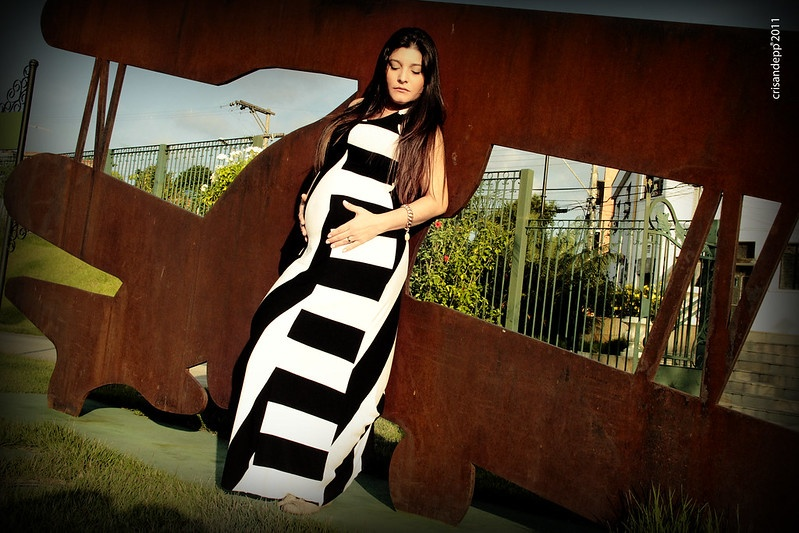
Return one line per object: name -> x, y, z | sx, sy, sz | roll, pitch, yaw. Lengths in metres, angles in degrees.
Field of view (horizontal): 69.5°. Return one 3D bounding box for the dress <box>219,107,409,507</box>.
dress -> -0.498, 0.091, 3.865 | 0.982, 3.127, 0.492 | -5, -40, 18
